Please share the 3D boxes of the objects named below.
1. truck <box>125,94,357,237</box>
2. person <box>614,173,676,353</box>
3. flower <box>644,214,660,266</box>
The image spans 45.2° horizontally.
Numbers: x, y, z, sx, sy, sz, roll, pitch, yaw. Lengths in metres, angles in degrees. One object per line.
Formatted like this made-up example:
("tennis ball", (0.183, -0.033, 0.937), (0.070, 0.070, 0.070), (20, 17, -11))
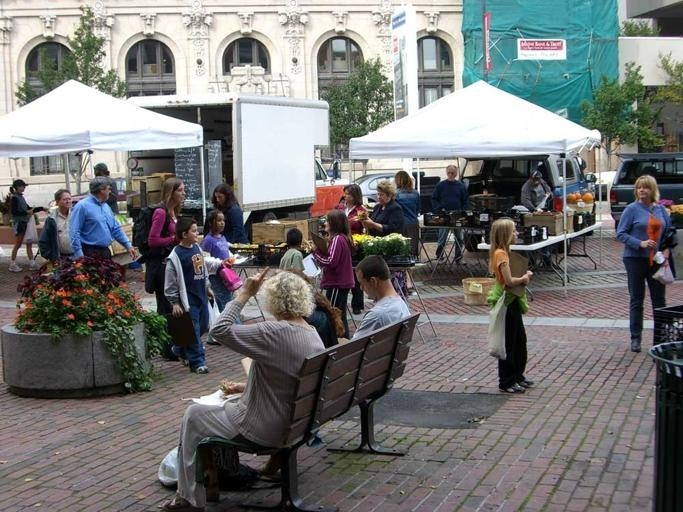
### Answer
("truck", (-2.065, -2.539, 21.416), (2.671, 3.047, 5.579), (3, 7, 30))
("person", (3.871, 0.101, 10.524), (0.660, 2.200, 0.450), (-2, 5, 11))
("flower", (3.923, -0.239, 10.398), (0.117, 0.466, 0.339), (3, -3, 2))
